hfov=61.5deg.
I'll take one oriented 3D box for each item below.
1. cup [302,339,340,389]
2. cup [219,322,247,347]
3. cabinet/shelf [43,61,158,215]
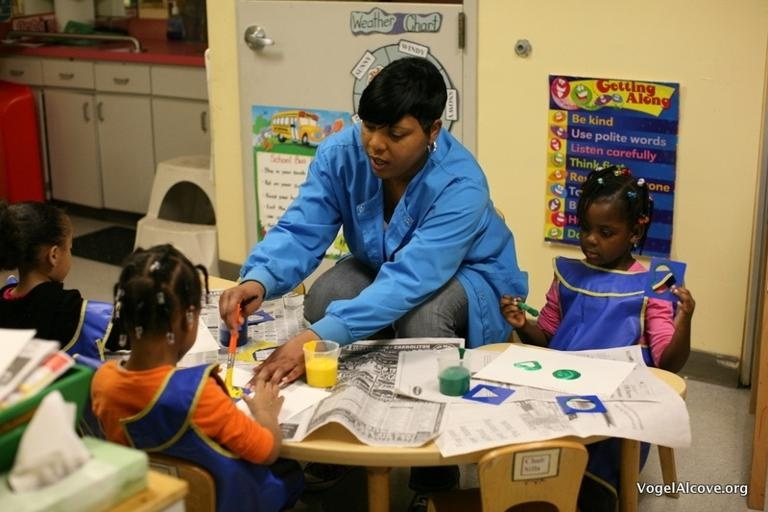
[{"bbox_3d":[-0.187,0.315,1.908,0.120,0.120,0.121,-1,7,0],"label":"cup"},{"bbox_3d":[-0.499,0.259,2.129,0.082,0.061,0.083,1,13,0],"label":"cup"},{"bbox_3d":[-2.065,-0.916,4.750,1.077,1.045,0.614,7,17,20],"label":"cabinet/shelf"}]
